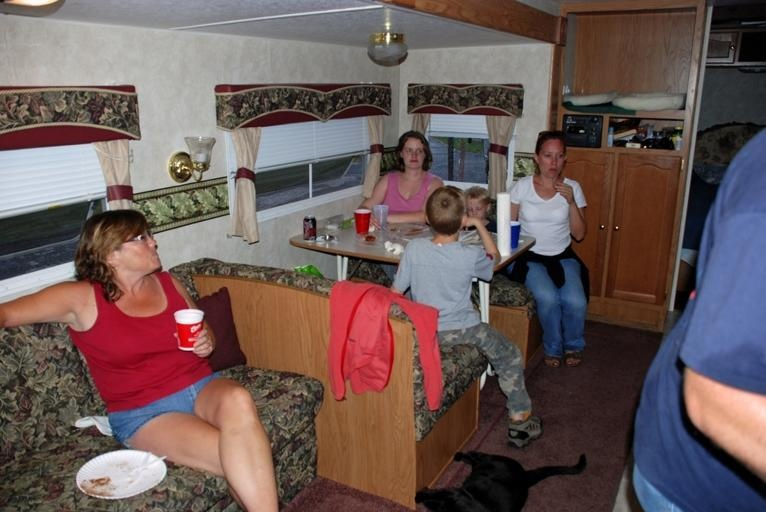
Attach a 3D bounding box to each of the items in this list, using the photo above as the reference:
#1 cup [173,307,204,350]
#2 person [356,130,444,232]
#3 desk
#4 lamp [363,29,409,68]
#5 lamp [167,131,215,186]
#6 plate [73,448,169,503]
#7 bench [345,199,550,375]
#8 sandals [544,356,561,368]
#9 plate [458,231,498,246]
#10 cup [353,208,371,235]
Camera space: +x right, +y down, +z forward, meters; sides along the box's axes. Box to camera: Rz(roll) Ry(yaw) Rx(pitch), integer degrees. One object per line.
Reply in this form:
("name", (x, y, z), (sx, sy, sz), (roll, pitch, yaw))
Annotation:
("cup", (-1.006, 0.391, 2.694), (0.131, 0.255, 0.168), (0, 20, 7))
("person", (0.228, -0.718, 5.007), (0.750, 0.981, 0.788), (5, 10, 10))
("desk", (0.362, 0.187, 4.350), (1.627, 0.983, 1.551), (5, 15, 26))
("lamp", (0.060, -1.759, 4.241), (0.337, 0.171, 0.331), (3, 12, -7))
("lamp", (-1.439, -0.737, 3.823), (0.380, 0.415, 0.315), (6, 12, 28))
("plate", (-1.255, 1.044, 2.429), (0.393, 0.063, 0.265), (-1, 19, 2))
("bench", (0.808, 0.278, 4.348), (1.413, 0.848, 1.390), (4, 11, 22))
("sandals", (1.496, 0.936, 4.473), (0.132, 0.076, 0.043), (-9, -20, 20))
("plate", (0.713, -0.157, 4.144), (0.187, 0.056, 0.190), (9, 18, 34))
("cup", (-0.140, -0.311, 4.443), (0.208, 0.222, 0.205), (0, 4, 0))
